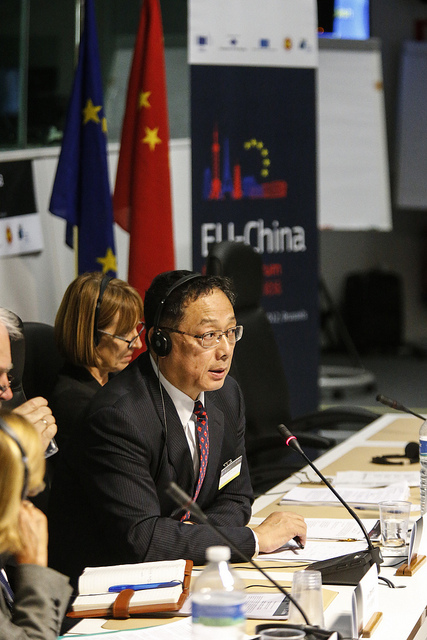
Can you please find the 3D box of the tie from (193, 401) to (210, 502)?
[{"bbox_3d":[-0.035,0.350,1.497,0.040,0.254,0.029,1,-6,-14],"label":"tie"}]

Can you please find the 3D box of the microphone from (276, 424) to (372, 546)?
[{"bbox_3d":[0.262,0.346,1.342,0.204,0.265,0.199,4,12,11],"label":"microphone"}]

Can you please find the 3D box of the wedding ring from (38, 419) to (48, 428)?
[{"bbox_3d":[-0.434,0.264,1.438,0.018,0.017,0.007,-2,5,-19],"label":"wedding ring"}]

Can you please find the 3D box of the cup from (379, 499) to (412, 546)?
[{"bbox_3d":[0.434,0.503,1.359,0.079,0.110,0.076,2,-13,0],"label":"cup"}]

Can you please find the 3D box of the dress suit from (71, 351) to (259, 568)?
[{"bbox_3d":[-0.066,0.364,1.445,0.443,0.611,0.449,-7,16,-36],"label":"dress suit"}]

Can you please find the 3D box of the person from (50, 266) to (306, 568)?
[{"bbox_3d":[-0.055,0.287,1.522,0.673,0.835,0.613,-3,5,-29],"label":"person"}]

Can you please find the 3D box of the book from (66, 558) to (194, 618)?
[{"bbox_3d":[-0.156,0.502,1.049,0.219,0.066,0.188,0,5,1],"label":"book"}]

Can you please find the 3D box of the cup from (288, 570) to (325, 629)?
[{"bbox_3d":[0.122,0.396,0.806,0.047,0.071,0.046,7,-14,2],"label":"cup"}]
